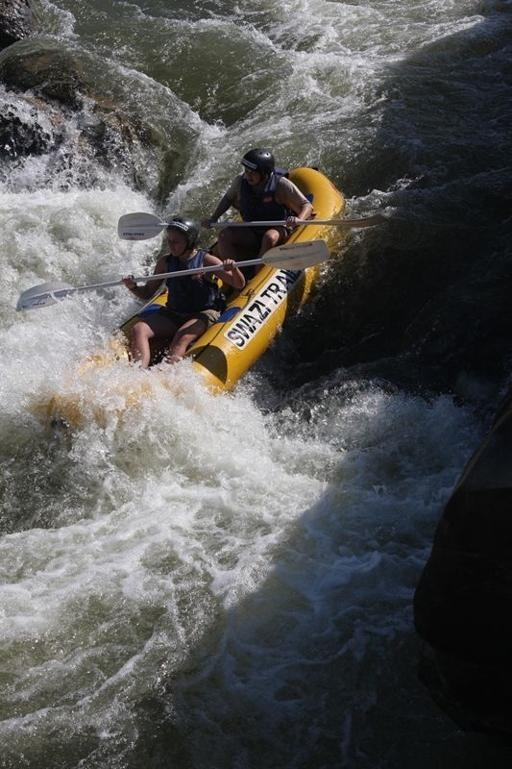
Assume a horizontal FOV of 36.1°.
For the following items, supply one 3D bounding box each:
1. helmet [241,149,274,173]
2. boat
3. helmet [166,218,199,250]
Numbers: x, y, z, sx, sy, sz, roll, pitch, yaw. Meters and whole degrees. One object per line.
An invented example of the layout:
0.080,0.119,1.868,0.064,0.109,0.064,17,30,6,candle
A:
0.029,-1.746,6.207,0.246,0.185,0.179,-14,60,-7,helmet
-0.063,-0.562,5.911,3.015,0.697,1.352,-42,38,-11,boat
-0.574,-1.089,5.700,0.201,0.230,0.231,17,15,39,helmet
